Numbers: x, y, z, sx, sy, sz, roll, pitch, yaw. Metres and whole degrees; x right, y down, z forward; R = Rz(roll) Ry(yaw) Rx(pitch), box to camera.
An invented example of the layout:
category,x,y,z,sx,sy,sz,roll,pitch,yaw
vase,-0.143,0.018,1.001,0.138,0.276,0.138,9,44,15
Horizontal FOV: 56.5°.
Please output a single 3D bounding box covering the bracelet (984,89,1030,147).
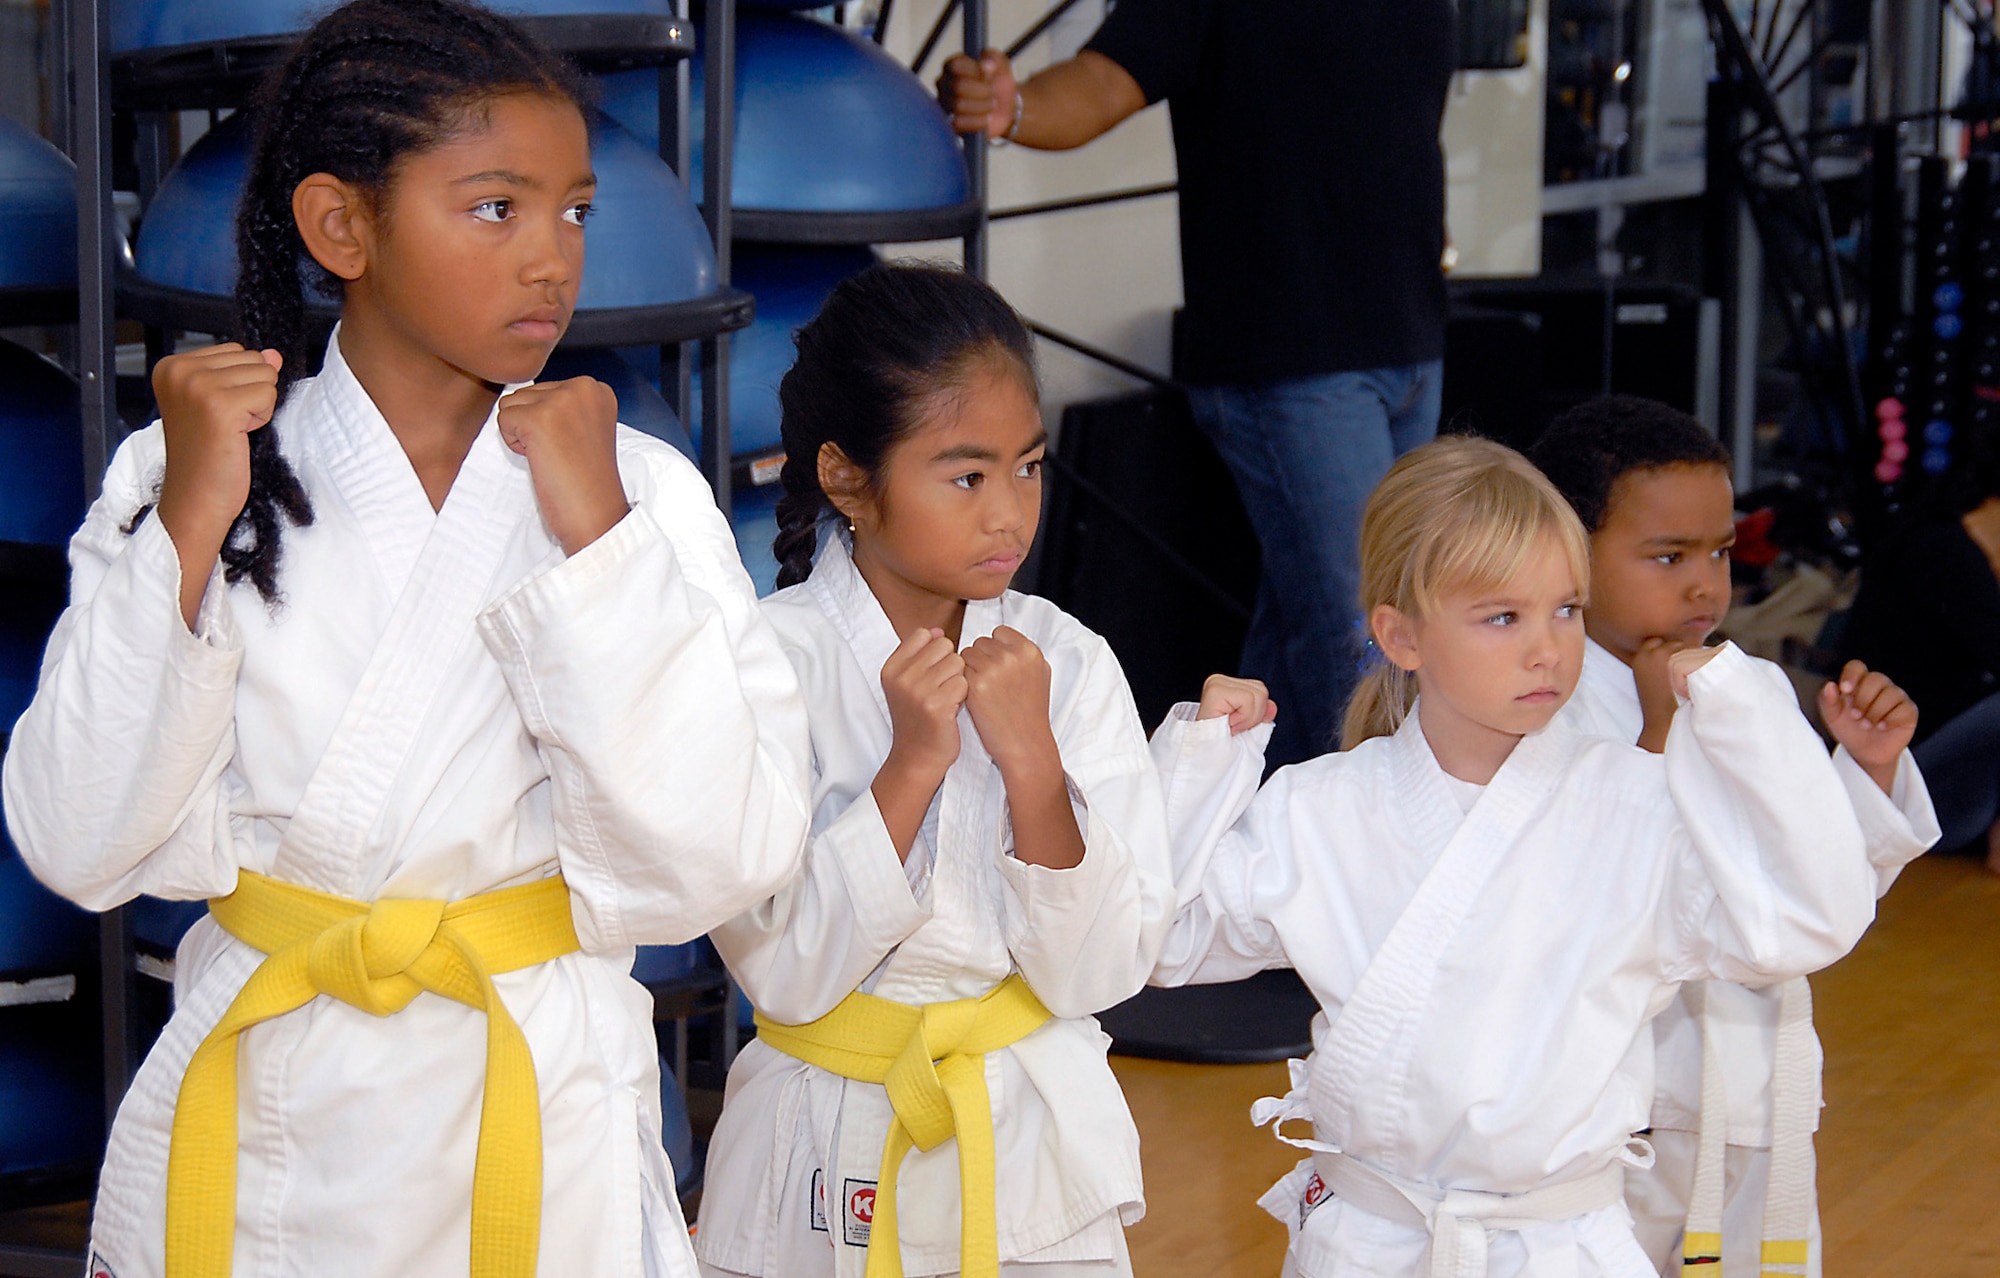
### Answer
category,x,y,z,sx,sy,sz,roll,pitch,yaw
bracelet,0.012,-0.898,3.206,0.030,0.079,0.061,21,-37,-11
